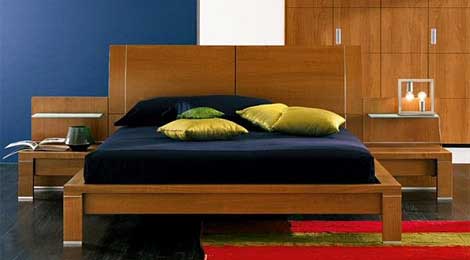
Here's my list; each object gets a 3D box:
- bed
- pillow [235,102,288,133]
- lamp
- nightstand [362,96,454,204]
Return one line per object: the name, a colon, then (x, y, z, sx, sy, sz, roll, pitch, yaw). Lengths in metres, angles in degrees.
bed: (-0.003, 0.111, 5.644, 3.942, 1.893, 1.894, 0, 24, 0)
pillow: (0.325, -0.196, 5.748, 0.469, 0.116, 0.430, -18, 35, -34)
lamp: (2.595, -0.459, 6.499, 0.825, 0.602, 0.252, 0, -1, 2)
nightstand: (2.279, 0.176, 5.977, 1.261, 0.879, 1.484, 0, 5, 4)
